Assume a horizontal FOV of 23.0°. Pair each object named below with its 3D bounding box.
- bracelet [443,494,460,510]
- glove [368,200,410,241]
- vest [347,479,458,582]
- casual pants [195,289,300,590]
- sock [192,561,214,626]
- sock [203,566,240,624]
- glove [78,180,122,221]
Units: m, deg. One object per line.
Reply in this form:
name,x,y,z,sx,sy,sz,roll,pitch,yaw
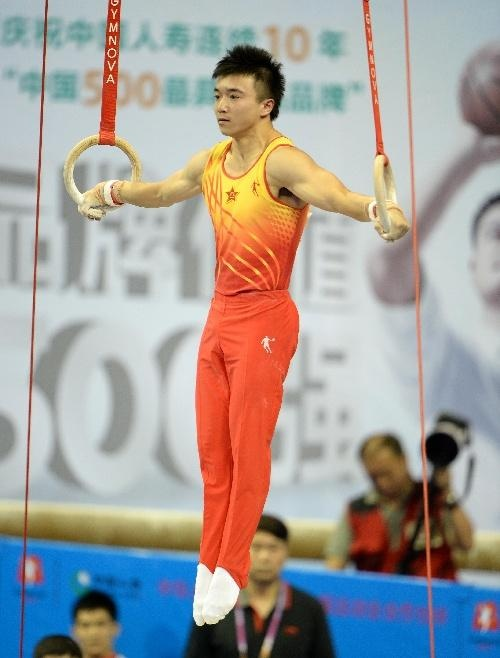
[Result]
bracelet,0.724,0.620,4.363,0.054,0.048,0.010,2,5,0
glove,0.350,-0.262,3.008,0.048,0.109,0.080,-17,18,45
vest,0.544,0.726,4.340,0.410,0.400,0.129,7,-8,5
casual pants,-0.008,0.278,3.197,0.261,0.753,0.201,1,5,-2
sock,-0.123,0.680,3.166,0.036,0.178,0.048,-7,-19,28
sock,-0.065,0.691,3.142,0.075,0.139,0.038,11,-27,23
glove,-0.422,-0.365,3.545,0.126,0.095,0.059,-27,10,25
